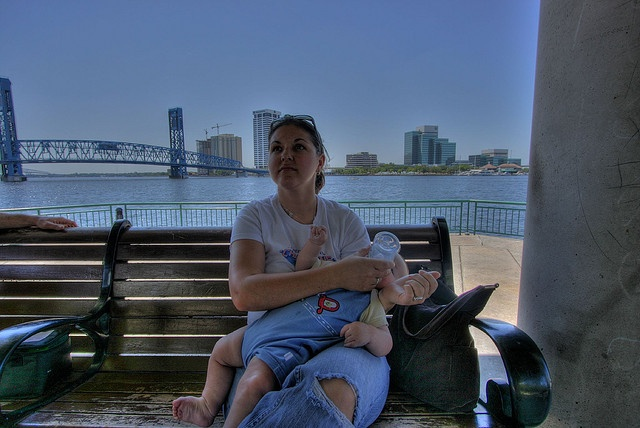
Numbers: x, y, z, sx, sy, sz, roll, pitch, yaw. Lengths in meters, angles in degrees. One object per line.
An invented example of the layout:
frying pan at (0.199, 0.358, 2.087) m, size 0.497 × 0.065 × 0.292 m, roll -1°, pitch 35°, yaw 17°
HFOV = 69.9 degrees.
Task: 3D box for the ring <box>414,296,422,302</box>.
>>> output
ring at (0.582, 0.506, 2.718) m, size 0.038 × 0.021 × 0.029 m, roll 3°, pitch 5°, yaw 9°

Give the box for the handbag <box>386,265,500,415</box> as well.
handbag at (0.764, 0.840, 2.923) m, size 0.538 × 0.899 × 0.958 m, roll 7°, pitch -7°, yaw -23°

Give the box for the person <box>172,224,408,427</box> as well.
person at (-0.172, 0.831, 2.723) m, size 1.280 × 0.854 × 0.579 m, roll -4°, pitch 8°, yaw -28°
